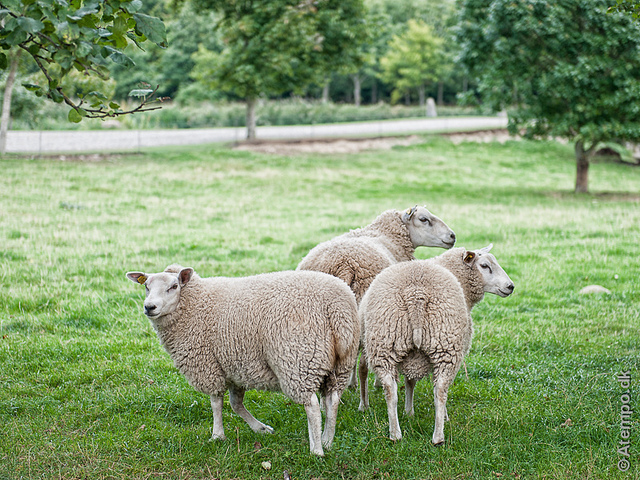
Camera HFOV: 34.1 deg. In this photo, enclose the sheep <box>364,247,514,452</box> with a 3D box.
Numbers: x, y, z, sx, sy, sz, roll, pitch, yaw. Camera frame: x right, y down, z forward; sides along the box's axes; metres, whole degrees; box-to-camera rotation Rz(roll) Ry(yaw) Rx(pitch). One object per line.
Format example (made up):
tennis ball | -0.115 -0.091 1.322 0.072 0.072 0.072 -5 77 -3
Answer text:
sheep | 1.819 1.807 17.641 2.177 3.173 1.289 -1 7 -8
